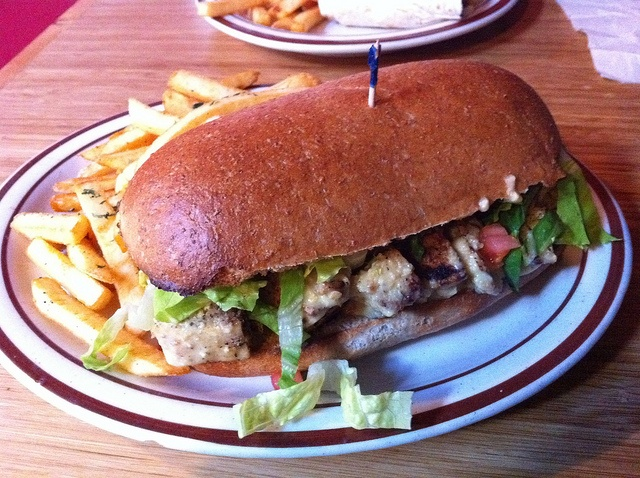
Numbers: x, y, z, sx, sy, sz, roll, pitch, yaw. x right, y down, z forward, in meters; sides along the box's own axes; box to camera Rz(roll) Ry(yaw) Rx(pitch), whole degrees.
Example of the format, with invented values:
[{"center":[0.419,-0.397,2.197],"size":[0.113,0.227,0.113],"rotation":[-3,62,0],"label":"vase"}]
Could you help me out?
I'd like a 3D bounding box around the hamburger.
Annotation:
[{"center":[0.187,-0.022,2.696],"size":[2.263,0.877,1.104],"rotation":[-14,45,-9],"label":"hamburger"}]
